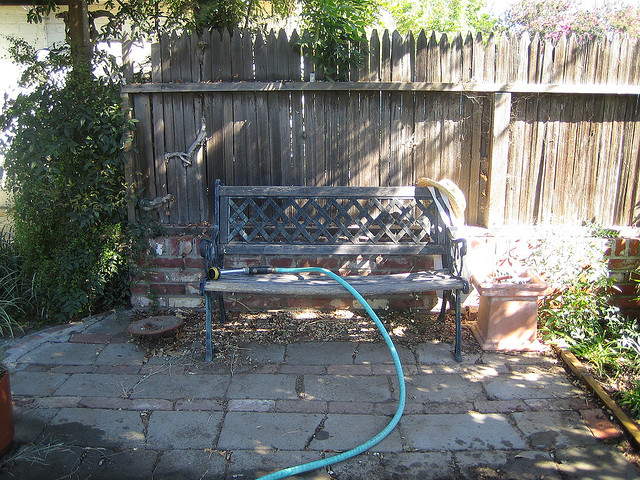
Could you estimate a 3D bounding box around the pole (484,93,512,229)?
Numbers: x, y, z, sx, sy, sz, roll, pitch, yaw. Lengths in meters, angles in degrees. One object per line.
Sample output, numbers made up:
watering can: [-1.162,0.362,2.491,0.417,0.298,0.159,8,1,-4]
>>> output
pole: [1.644,-0.720,4.390,0.204,1.232,0.212,4,14,17]

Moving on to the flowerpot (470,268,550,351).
flowerpot: [1.575,0.636,4.014,0.547,0.509,0.540,0,6,12]
